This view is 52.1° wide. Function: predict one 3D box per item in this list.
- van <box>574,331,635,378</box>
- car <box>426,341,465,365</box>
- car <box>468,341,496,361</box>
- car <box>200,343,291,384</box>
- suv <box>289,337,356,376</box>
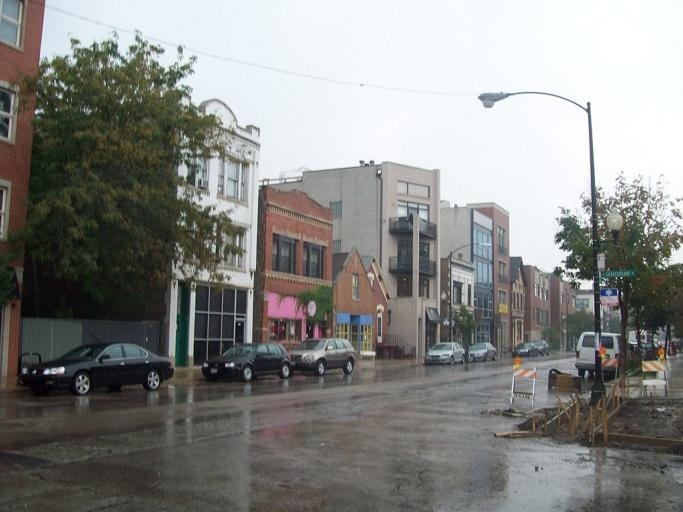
[{"bbox_3d":[12.548,5.271,34.040,2.188,2.182,3.668,-2,-4,26],"label":"van"},{"bbox_3d":[7.118,6.669,47.830,1.556,1.685,3.677,-9,-15,34],"label":"car"},{"bbox_3d":[10.949,7.585,55.168,1.152,1.212,3.146,-6,-16,20],"label":"car"},{"bbox_3d":[-3.900,4.568,29.742,1.673,1.392,2.974,-10,-17,34],"label":"car"},{"bbox_3d":[-0.946,4.872,33.966,1.169,1.976,4.141,-10,-16,42],"label":"suv"}]
